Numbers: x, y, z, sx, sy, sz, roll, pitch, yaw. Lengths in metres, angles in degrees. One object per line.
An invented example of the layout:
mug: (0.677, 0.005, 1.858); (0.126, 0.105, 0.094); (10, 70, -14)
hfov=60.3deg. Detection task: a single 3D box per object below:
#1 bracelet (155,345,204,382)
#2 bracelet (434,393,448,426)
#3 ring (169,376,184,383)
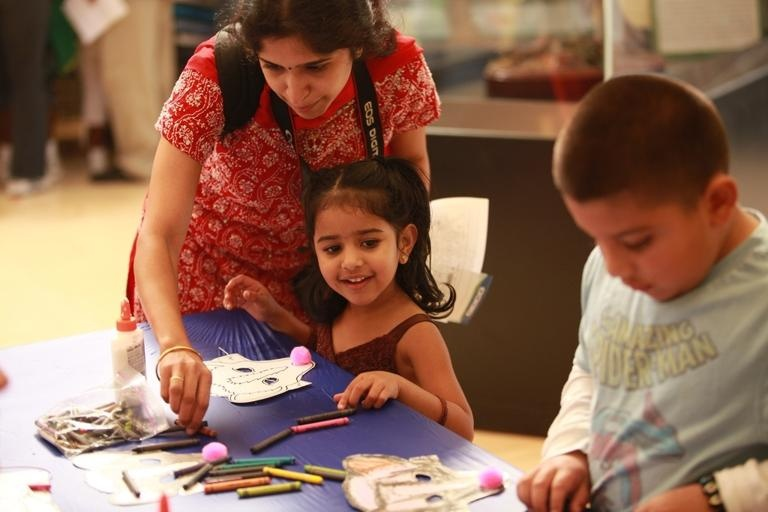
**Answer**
bracelet: (-0.438, 0.221, 1.409); (0.079, 0.020, 0.080); (-7, 55, -10)
bracelet: (0.139, 0.354, 1.519); (0.028, 0.052, 0.040); (-36, -8, 16)
ring: (-0.420, 0.248, 1.335); (0.022, 0.010, 0.022); (-4, 14, 1)
